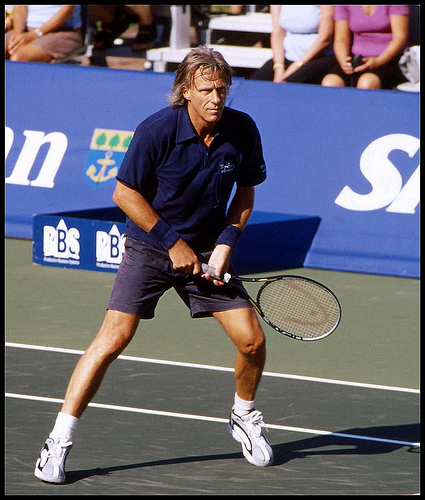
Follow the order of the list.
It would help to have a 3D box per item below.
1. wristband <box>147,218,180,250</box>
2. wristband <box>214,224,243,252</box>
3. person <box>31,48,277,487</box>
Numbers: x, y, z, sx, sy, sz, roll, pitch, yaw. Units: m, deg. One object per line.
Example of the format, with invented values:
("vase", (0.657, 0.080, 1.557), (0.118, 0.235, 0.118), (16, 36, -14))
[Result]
("wristband", (-0.239, -0.067, 4.217), (0.142, 0.141, 0.042), (43, 4, 2))
("wristband", (0.081, -0.063, 4.602), (0.107, 0.101, 0.149), (25, 47, 7))
("person", (-0.171, 0.014, 4.607), (1.121, 2.080, 1.437), (3, 14, 4))
